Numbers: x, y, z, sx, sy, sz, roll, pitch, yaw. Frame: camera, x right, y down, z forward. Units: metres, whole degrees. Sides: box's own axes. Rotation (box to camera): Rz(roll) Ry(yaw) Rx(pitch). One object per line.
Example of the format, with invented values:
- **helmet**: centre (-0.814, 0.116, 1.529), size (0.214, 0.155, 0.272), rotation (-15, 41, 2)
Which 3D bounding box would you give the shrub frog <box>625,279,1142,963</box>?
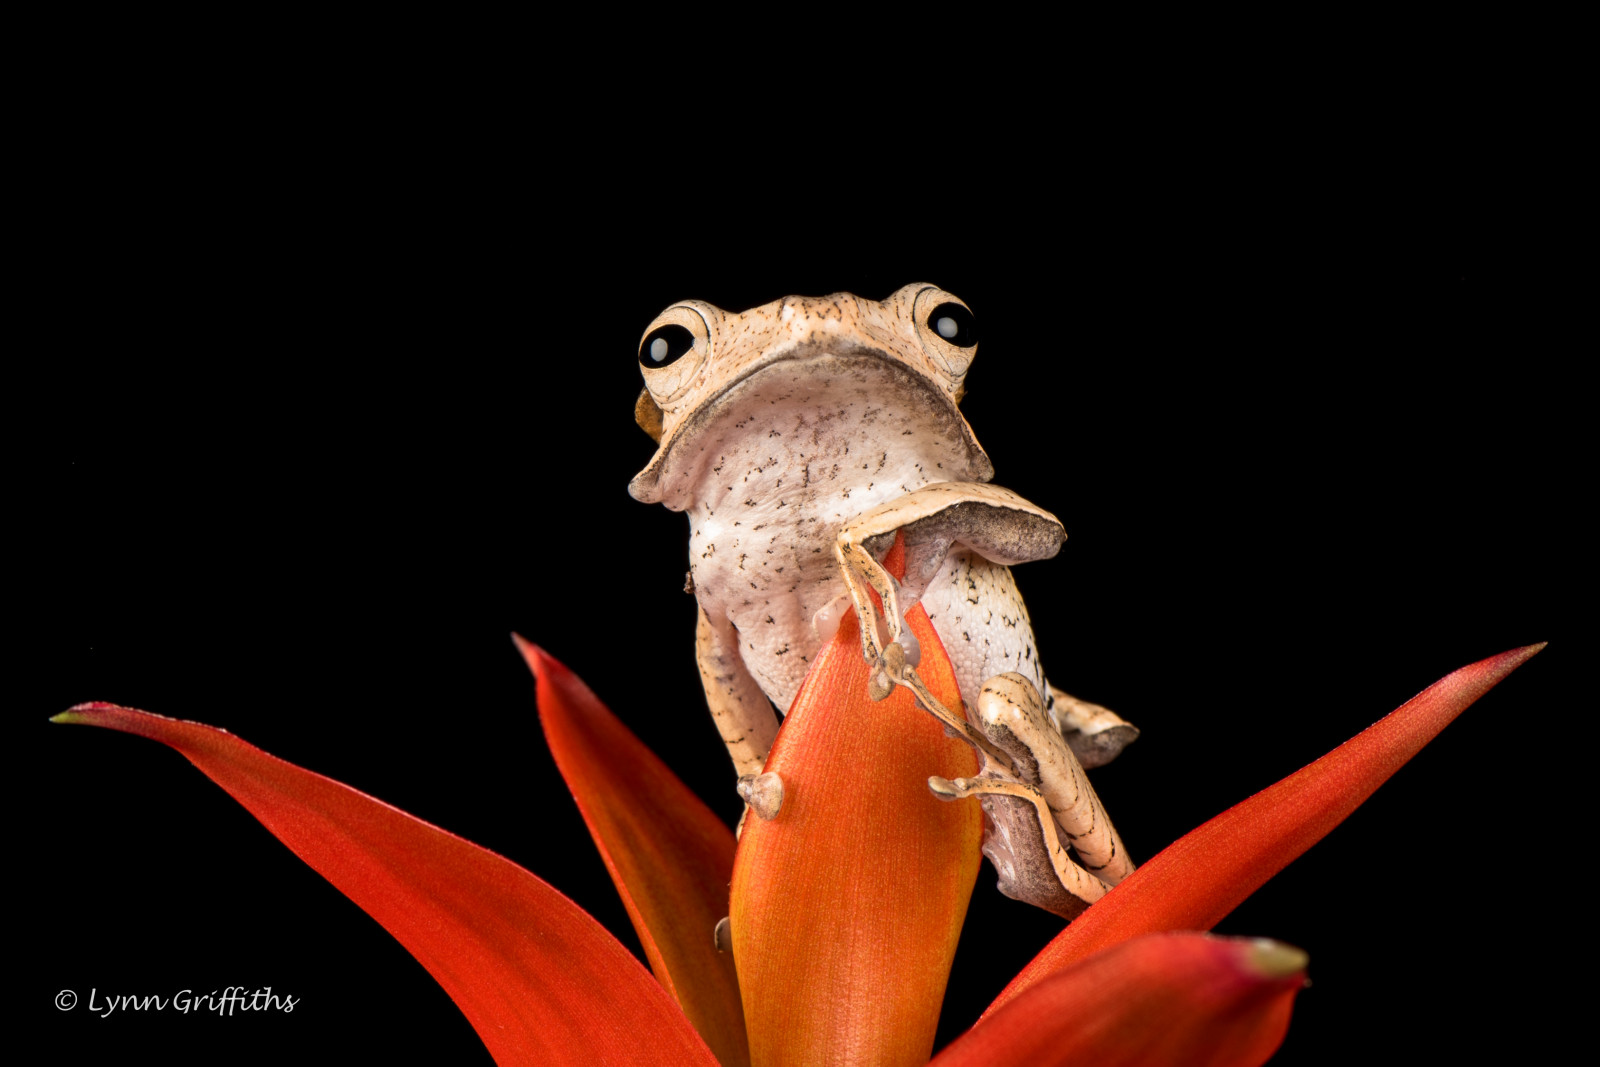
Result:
- **shrub frog**: centre (0.113, 0.150, 2.393), size (0.575, 0.442, 0.911), rotation (-8, -52, 14)
